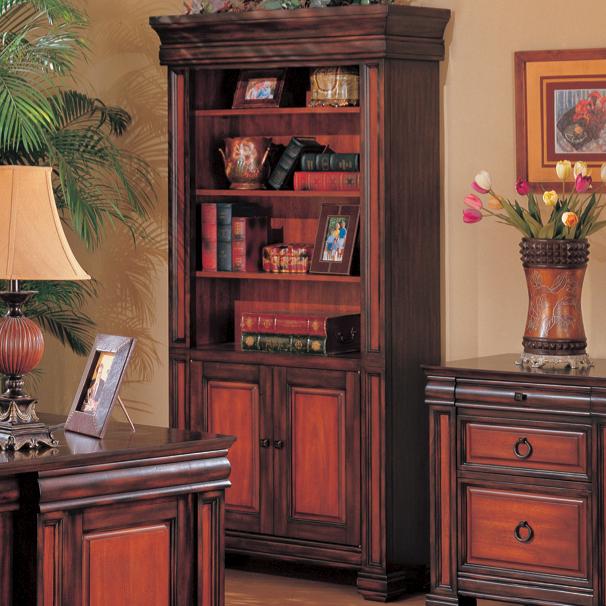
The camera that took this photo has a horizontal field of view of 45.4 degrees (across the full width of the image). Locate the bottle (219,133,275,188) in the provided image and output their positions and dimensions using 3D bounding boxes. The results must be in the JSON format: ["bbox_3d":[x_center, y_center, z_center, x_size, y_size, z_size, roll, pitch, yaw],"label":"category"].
[{"bbox_3d":[-0.277,-0.704,3.656,0.321,0.251,0.203,4,7,15],"label":"bottle"}]

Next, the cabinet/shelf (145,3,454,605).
[{"bbox_3d":[-0.021,-0.028,3.369,1.328,2.634,0.644,0,-4,23],"label":"cabinet/shelf"}]

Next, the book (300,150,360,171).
[{"bbox_3d":[0.130,-0.668,3.412,0.169,0.064,0.162,2,3,16],"label":"book"}]

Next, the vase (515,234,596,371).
[{"bbox_3d":[0.998,0.001,2.815,0.304,0.493,0.291,-1,0,11],"label":"vase"}]

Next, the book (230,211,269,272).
[{"bbox_3d":[-0.277,-0.295,3.620,0.114,0.286,0.317,2,3,21],"label":"book"}]

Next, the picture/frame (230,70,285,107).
[{"bbox_3d":[-0.214,-1.045,3.548,0.250,0.169,0.025,3,-18,27],"label":"picture/frame"}]

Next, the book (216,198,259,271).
[{"bbox_3d":[-0.336,-0.324,3.615,0.215,0.330,0.362,2,3,20],"label":"book"}]
